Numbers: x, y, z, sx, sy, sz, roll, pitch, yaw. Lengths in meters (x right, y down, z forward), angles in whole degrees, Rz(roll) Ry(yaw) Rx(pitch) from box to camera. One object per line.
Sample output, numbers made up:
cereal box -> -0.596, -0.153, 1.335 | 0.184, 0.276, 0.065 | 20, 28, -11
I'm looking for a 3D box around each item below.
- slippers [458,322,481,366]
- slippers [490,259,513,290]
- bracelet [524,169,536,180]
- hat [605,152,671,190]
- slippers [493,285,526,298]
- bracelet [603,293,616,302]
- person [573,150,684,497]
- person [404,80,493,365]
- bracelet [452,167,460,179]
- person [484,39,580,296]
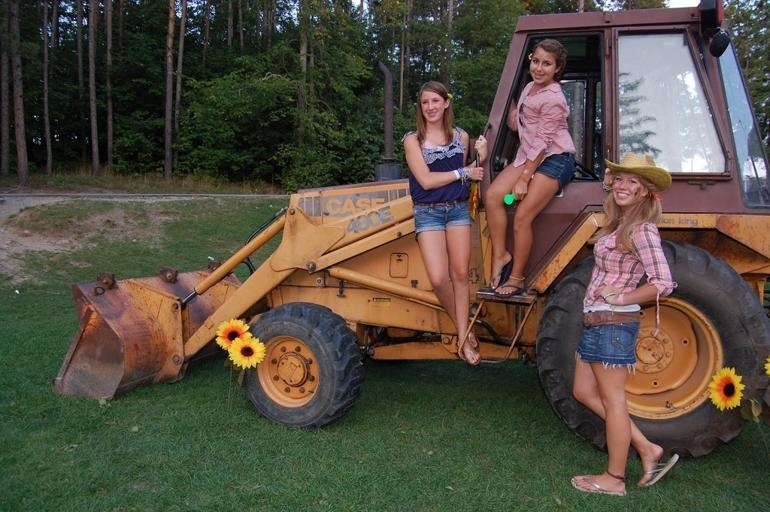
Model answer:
slippers -> 0.796, 0.822, 5.454 | 0.198, 0.365, 0.198 | -1, 11, 6
slippers -> 1.091, 0.179, 5.407 | 0.127, 0.363, 0.091 | 29, 23, 5
bracelet -> 1.308, -0.736, 5.230 | 0.054, 0.071, 0.093 | 8, 11, 39
hat -> 2.080, -0.681, 4.749 | 0.486, 0.300, 0.256 | 3, 12, 24
slippers -> 1.149, 0.330, 5.279 | 0.272, 0.088, 0.114 | 2, -2, -23
bracelet -> 1.822, 0.340, 4.684 | 0.055, 0.034, 0.077 | 16, -23, -28
person -> 1.953, 0.575, 4.825 | 0.796, 2.779, 0.557 | -3, 10, -6
person -> 0.563, -0.325, 5.489 | 0.723, 2.584, 0.596 | 0, 10, 10
bracelet -> 0.672, -0.756, 5.343 | 0.062, 0.083, 0.058 | 6, 14, 37
person -> 1.324, -0.808, 5.333 | 0.843, 2.247, 0.404 | -7, 11, -25
